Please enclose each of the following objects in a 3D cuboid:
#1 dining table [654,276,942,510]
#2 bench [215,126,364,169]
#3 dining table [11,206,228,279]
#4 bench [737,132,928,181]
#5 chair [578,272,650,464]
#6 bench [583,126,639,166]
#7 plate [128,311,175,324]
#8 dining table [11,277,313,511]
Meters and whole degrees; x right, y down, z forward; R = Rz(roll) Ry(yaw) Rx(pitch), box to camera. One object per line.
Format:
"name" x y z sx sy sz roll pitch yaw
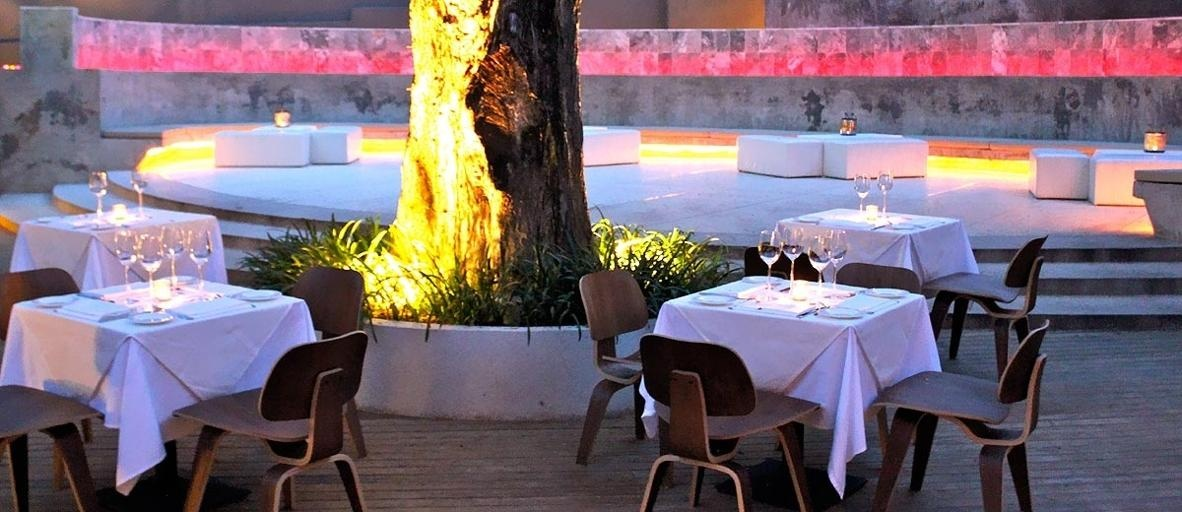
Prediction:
"dining table" 3.236 1.780 13.848 3.133 1.513 3.116 4 7 32
"bench" -6.525 -2.308 22.079 3.017 0.815 0.948 -3 9 -18
"dining table" -7.041 -0.173 15.010 1.727 0.854 1.834 4 7 32
"bench" 5.017 -2.065 21.620 3.851 0.900 0.698 0 10 3
"chair" 0.250 1.450 13.545 0.899 2.495 0.684 0 10 5
"bench" 0.370 -2.369 22.708 1.480 0.772 0.440 -6 11 -30
"plate" -5.446 0.777 12.755 0.484 0.130 0.253 -4 9 -23
"dining table" -5.598 1.848 13.192 3.071 1.492 2.989 7 11 32
